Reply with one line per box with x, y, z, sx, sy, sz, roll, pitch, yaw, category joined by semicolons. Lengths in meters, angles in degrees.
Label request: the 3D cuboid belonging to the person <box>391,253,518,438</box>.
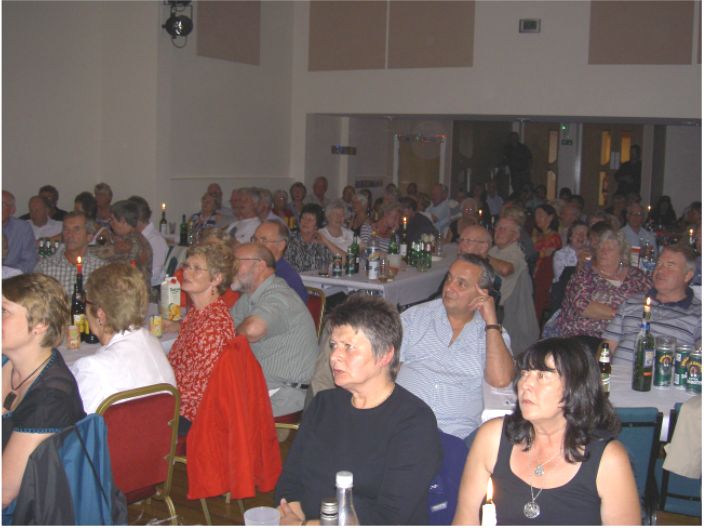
0.454;0.612;3.536;0.634;1.390;0.432;2;29;-1;person

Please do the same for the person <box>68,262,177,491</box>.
-1.044;0.518;2.988;0.518;0.994;0.480;-3;10;-37;person

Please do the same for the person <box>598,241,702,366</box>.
1.793;0.259;3.983;0.491;0.866;0.326;17;-4;44;person

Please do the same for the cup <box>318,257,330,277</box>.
-0.262;0.042;6.213;0.125;0.180;0.143;7;6;24;cup

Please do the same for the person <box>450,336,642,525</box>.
0.723;0.660;2.530;0.555;1.032;0.387;-5;-15;29;person

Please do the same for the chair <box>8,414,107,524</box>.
-1.069;0.741;2.347;0.214;0.399;0.381;3;1;29;chair

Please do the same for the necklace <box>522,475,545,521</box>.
0.641;0.849;2.331;0.062;0.110;0.031;1;5;21;necklace

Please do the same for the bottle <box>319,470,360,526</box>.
-0.041;0.706;2.014;0.099;0.186;0.167;-1;4;-1;bottle

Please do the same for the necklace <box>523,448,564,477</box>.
0.688;0.712;2.356;0.110;0.113;0.033;37;1;24;necklace

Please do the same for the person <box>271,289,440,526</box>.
0.012;0.548;2.415;0.618;0.825;0.318;0;4;9;person
